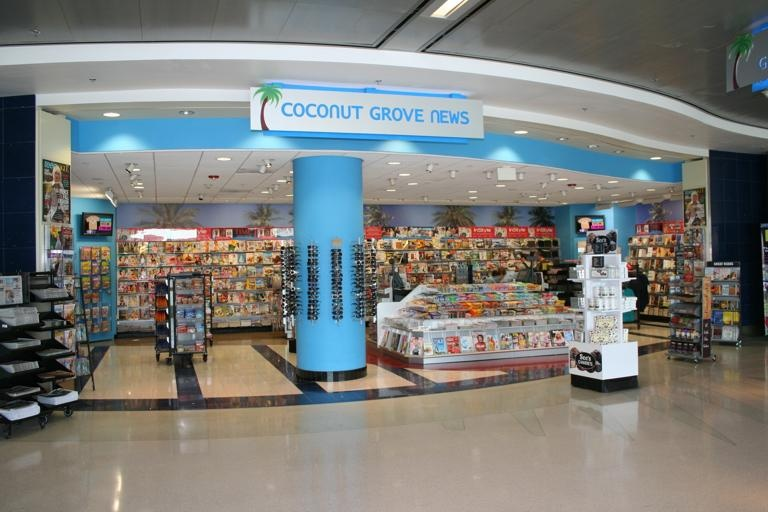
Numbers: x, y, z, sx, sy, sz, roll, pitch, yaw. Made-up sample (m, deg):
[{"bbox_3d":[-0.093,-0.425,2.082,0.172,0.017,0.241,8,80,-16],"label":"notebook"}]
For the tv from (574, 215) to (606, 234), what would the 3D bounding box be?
[{"bbox_3d":[7.617,-1.184,19.696,1.224,0.631,0.125,-3,-11,41],"label":"tv"}]

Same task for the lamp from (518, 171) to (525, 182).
[{"bbox_3d":[3.370,-1.962,13.140,0.269,0.212,0.126,0,-2,-20],"label":"lamp"}]

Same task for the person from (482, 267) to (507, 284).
[{"bbox_3d":[3.581,0.617,17.089,0.894,0.685,0.192,-1,-8,-21],"label":"person"}]

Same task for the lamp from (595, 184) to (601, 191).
[{"bbox_3d":[6.233,-2.006,15.555,0.158,0.094,0.132,1,-14,-3],"label":"lamp"}]

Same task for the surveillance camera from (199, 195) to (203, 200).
[{"bbox_3d":[-5.511,-1.779,16.114,0.130,0.104,0.119,2,-3,-35],"label":"surveillance camera"}]

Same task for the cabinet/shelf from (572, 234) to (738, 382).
[{"bbox_3d":[6.253,1.221,12.080,3.665,2.816,1.322,0,-1,-28],"label":"cabinet/shelf"}]

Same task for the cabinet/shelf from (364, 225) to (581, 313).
[{"bbox_3d":[3.058,-0.116,20.045,7.445,2.099,1.437,-3,5,-23],"label":"cabinet/shelf"}]

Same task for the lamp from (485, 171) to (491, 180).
[{"bbox_3d":[2.538,-2.000,12.993,0.118,0.096,0.144,0,-6,7],"label":"lamp"}]
